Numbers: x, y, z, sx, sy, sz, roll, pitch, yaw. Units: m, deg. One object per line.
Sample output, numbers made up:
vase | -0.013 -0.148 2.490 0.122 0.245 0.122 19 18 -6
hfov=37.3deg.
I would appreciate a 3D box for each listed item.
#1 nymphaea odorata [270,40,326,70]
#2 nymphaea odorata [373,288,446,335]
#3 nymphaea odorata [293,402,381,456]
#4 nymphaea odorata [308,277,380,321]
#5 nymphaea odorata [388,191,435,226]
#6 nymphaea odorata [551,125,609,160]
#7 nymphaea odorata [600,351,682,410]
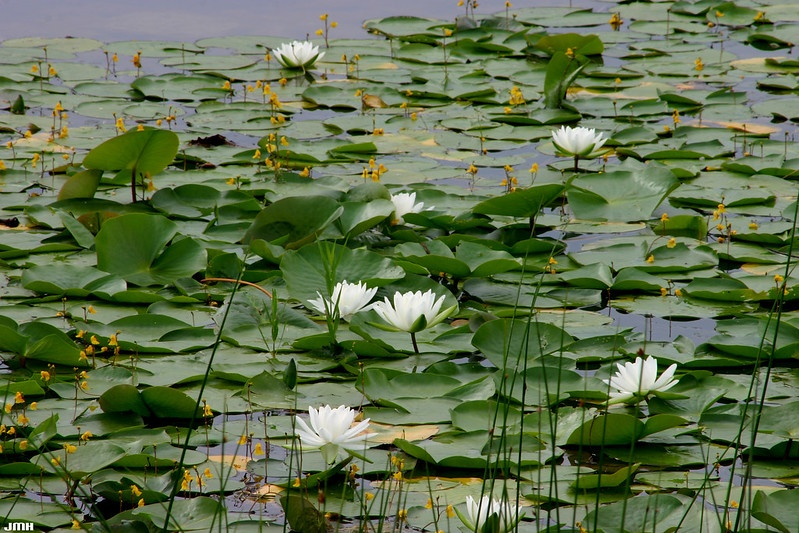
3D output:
nymphaea odorata | -0.841 -1.751 9.957 0.470 0.148 0.362 -1 24 0
nymphaea odorata | 0.101 0.248 5.935 0.268 0.095 0.254 22 16 23
nymphaea odorata | -0.281 0.717 5.365 0.377 0.267 0.391 -1 13 -4
nymphaea odorata | -0.257 0.171 6.097 0.355 0.097 0.263 -12 17 -28
nymphaea odorata | 0.053 -0.347 6.898 0.290 0.109 0.245 0 1 2
nymphaea odorata | 1.159 -0.790 7.506 0.330 0.110 0.309 5 13 14
nymphaea odorata | 1.148 0.516 5.600 0.385 0.100 0.284 -5 10 0
